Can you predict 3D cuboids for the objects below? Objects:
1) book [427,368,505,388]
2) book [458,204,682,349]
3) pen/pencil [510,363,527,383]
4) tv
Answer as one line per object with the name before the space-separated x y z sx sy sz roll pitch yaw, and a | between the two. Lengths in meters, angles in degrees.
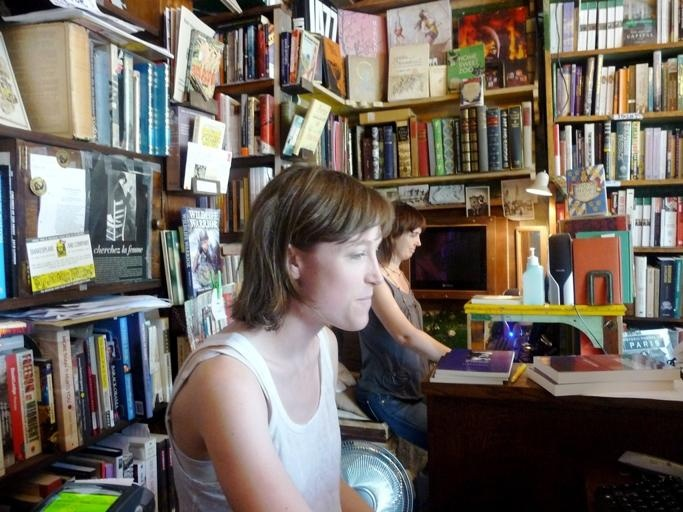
book | 0.418 0.405 1.828 0.247 0.048 0.033 0 3 18
book | 1.036 0.140 2.526 0.907 0.933 0.750 1 4 28
pen/pencil | 0.607 0.403 1.882 0.020 0.023 0.146 -14 3 29
tv | 0.711 0.011 3.547 0.372 0.358 0.053 1 1 14
